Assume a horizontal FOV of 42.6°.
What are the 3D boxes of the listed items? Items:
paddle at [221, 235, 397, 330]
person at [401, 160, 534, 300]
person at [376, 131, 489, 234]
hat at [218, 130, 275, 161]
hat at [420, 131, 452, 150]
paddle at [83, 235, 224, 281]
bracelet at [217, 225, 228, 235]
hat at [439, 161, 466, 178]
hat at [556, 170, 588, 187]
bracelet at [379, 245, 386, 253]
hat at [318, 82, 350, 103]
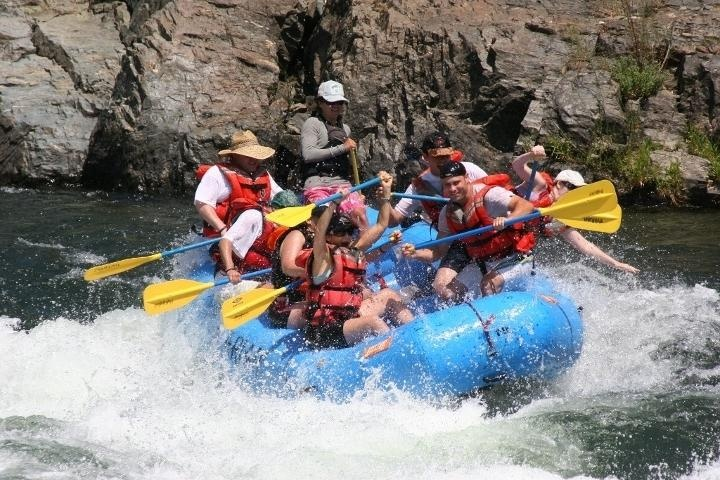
[{"bbox_3d":[-0.714,0.522,10.084,1.638,0.325,0.129,-22,-6,-11],"label":"paddle"},{"bbox_3d":[1.219,-0.058,10.269,0.822,0.835,1.249,25,30,-24],"label":"person"},{"bbox_3d":[0.856,-0.693,10.762,1.264,0.939,1.812,-9,-1,16],"label":"person"},{"bbox_3d":[-1.256,-1.095,10.845,0.479,0.192,0.403,-2,-5,-15],"label":"hat"},{"bbox_3d":[0.868,-1.135,10.440,0.216,0.255,0.277,-2,-7,-7],"label":"hat"},{"bbox_3d":[-2.628,0.261,11.836,1.758,0.197,0.093,-16,11,-2],"label":"paddle"},{"bbox_3d":[-1.554,-0.120,10.584,0.084,0.062,0.079,-2,7,-29],"label":"bracelet"},{"bbox_3d":[0.997,-0.764,9.948,0.231,0.176,0.166,-22,16,-3],"label":"hat"},{"bbox_3d":[2.350,-0.697,10.340,0.311,0.149,0.212,16,3,33],"label":"hat"},{"bbox_3d":[0.263,0.100,10.556,0.054,0.065,0.020,10,19,-2],"label":"bracelet"},{"bbox_3d":[-0.334,-1.815,11.243,0.232,0.184,0.343,0,9,-25],"label":"hat"}]
